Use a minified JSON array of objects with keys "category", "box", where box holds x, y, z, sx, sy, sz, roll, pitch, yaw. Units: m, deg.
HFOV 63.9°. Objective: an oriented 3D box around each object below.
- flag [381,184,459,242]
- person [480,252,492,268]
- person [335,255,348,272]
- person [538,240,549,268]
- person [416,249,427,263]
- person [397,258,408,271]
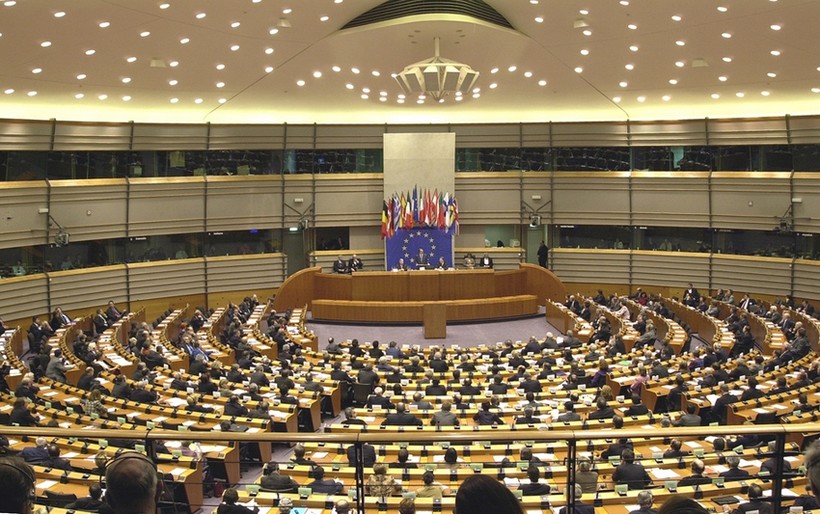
[{"category":"flag","box":[0.440,-2.395,34.575,2.855,2.239,0.412,0,-3,-3]},{"category":"person","box":[3.952,0.151,34.295,0.716,1.139,0.442,-1,-7,8]},{"category":"person","box":[-3.655,0.335,33.920,0.785,1.076,0.745,1,-5,-24]},{"category":"person","box":[7.176,-0.194,35.635,0.551,1.473,1.096,-2,-8,18]},{"category":"person","box":[0.611,-0.096,34.340,0.541,0.913,0.510,0,-8,2]},{"category":"person","box":[-0.381,0.302,34.037,0.547,0.706,1.188,0,-8,-1]}]
